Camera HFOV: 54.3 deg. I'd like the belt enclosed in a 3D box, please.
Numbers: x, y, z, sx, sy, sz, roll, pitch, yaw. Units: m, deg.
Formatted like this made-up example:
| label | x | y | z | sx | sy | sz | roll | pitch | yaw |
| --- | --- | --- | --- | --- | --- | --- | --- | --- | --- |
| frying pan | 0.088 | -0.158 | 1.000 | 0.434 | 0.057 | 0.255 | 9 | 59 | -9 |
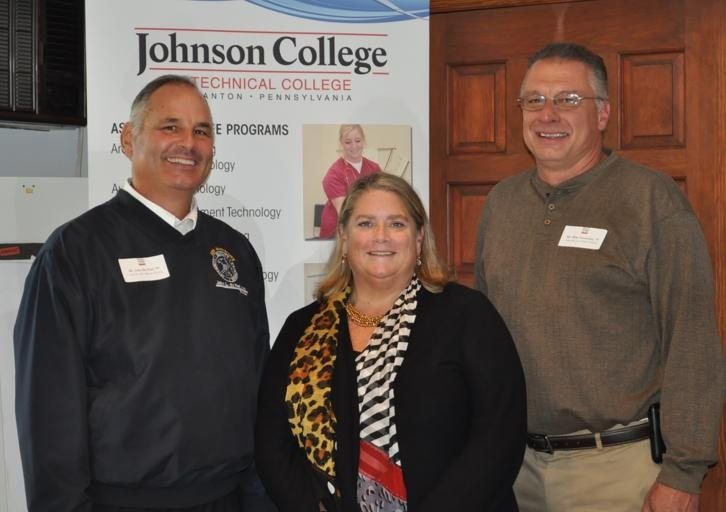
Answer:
| label | x | y | z | sx | sy | sz | roll | pitch | yaw |
| --- | --- | --- | --- | --- | --- | --- | --- | --- | --- |
| belt | 0.928 | 0.730 | 2.879 | 0.482 | 0.168 | 0.033 | 0 | 4 | 19 |
